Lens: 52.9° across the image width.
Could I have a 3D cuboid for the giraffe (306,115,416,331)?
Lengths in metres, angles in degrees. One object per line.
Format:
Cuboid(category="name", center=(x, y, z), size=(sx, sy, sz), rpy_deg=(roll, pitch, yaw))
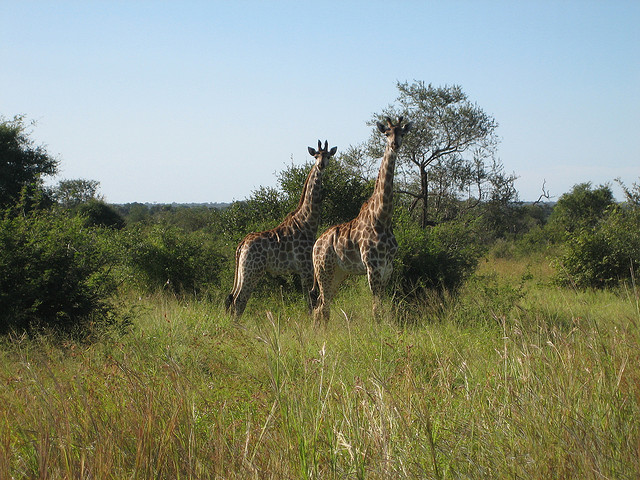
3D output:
Cuboid(category="giraffe", center=(0.626, -0.240, 10.169), size=(1.607, 3.184, 2.241), rpy_deg=(1, -2, -24))
